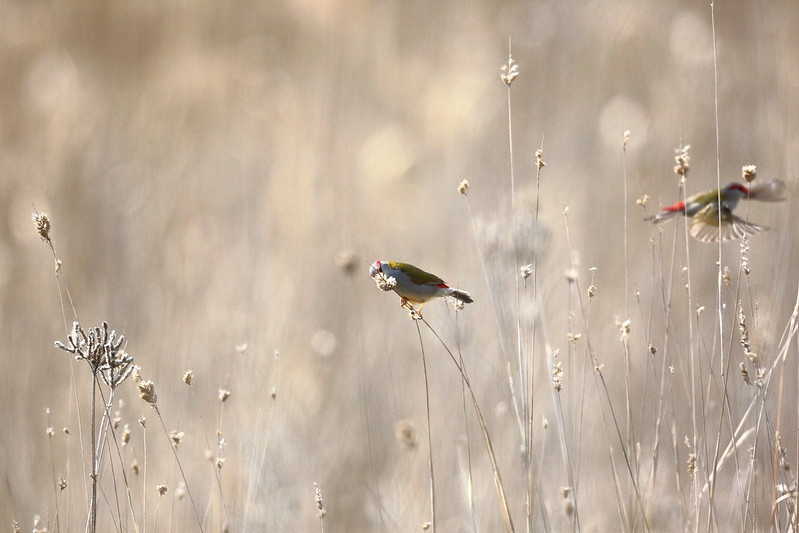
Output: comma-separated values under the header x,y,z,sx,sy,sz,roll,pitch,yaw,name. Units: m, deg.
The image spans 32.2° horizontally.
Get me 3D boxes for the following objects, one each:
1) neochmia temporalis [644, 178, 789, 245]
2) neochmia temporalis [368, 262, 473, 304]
x,y,z,sx,sy,sz,roll,pitch,yaw,name
2.092,-0.372,8.928,0.497,0.530,0.215,27,-86,-6,neochmia temporalis
0.118,0.097,9.053,0.739,0.399,0.281,2,5,2,neochmia temporalis
